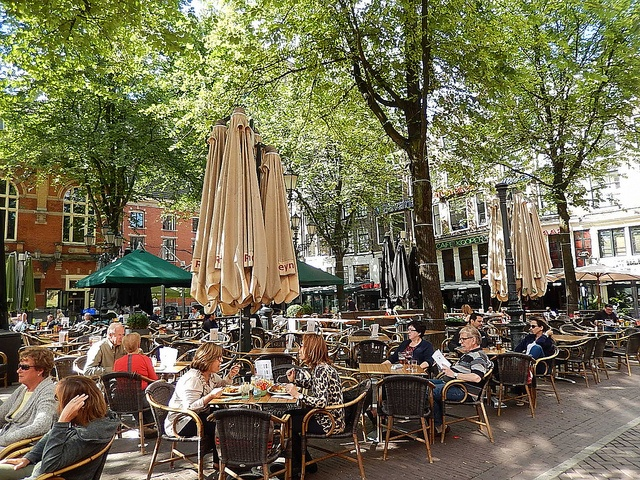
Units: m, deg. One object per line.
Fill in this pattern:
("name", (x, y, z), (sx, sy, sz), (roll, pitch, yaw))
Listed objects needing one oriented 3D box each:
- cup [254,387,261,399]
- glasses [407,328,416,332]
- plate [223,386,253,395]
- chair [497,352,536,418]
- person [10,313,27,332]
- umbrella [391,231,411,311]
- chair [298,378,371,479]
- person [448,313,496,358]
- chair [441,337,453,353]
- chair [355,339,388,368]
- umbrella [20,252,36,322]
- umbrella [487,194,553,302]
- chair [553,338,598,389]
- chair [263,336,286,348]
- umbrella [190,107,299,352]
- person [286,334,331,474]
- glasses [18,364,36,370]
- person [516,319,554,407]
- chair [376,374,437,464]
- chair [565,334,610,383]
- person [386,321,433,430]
("cup", (-1.029, 2.484, 7.892), (0.143, 0.157, 0.136), (-3, -6, 0))
("glasses", (1.942, 1.950, 10.515), (0.093, 0.113, 0.187), (2, -8, -39))
("plate", (-1.408, 2.525, 8.220), (0.300, 0.042, 0.299), (-4, -7, 39))
("chair", (4.146, 3.055, 10.464), (0.795, 1.311, 1.004), (-6, -7, 21))
("person", (-11.410, 3.163, 18.677), (0.403, 0.618, 2.826), (1, -7, -31))
("umbrella", (2.788, 1.066, 17.240), (0.588, 2.018, 0.339), (-6, -7, 23))
("chair", (0.264, 3.263, 8.595), (1.554, 1.695, 1.524), (2, -15, -2))
("person", (4.009, 2.553, 12.984), (1.511, 1.263, 0.866), (11, -16, -39))
("chair", (3.330, 2.794, 12.937), (0.427, 0.460, 0.390), (-2, -14, 16))
("chair", (1.278, 2.819, 12.098), (0.663, 0.760, 0.624), (1, 3, -1))
("umbrella", (-13.204, 1.984, 22.153), (0.513, 2.437, 1.178), (0, -7, -31))
("umbrella", (5.780, 0.183, 14.645), (2.082, 3.247, 1.196), (1, -7, -33))
("chair", (6.719, 3.286, 12.916), (1.344, 1.411, 1.127), (7, -7, -40))
("chair", (-1.166, 2.717, 12.876), (0.452, 0.144, 0.320), (1, -6, -11))
("umbrella", (-1.416, -0.545, 8.903), (1.861, 3.756, 0.840), (-2, -6, -13))
("person", (-0.160, 2.748, 8.169), (0.781, 2.309, 0.777), (-3, -6, -3))
("glasses", (-4.283, 1.864, 7.110), (0.222, 0.095, 0.081), (-4, -6, 11))
("person", (4.940, 2.901, 11.313), (1.119, 1.731, 0.851), (17, -36, 11))
("chair", (1.581, 3.023, 9.006), (1.355, 1.735, 1.404), (-1, -3, 8))
("chair", (7.195, 3.251, 13.261), (1.342, 1.407, 1.139), (6, -8, -35))
("person", (1.939, 2.560, 10.654), (1.100, 1.399, 0.897), (-1, -1, 39))
